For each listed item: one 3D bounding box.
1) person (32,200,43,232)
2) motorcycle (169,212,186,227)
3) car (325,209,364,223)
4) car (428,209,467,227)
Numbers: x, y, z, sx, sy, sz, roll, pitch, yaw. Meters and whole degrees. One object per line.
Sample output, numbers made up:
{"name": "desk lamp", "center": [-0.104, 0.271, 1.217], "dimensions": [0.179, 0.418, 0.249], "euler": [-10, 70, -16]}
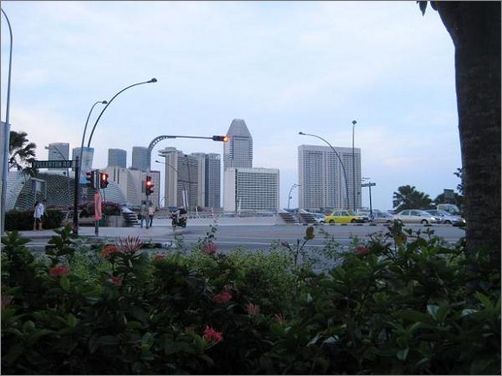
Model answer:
{"name": "person", "center": [-9.009, 1.178, 26.244], "dimensions": [0.466, 1.175, 2.497], "euler": [1, -4, -18]}
{"name": "motorcycle", "center": [-3.927, 1.745, 33.483], "dimensions": [0.527, 0.637, 1.070], "euler": [7, -2, -32]}
{"name": "car", "center": [7.326, 2.297, 49.663], "dimensions": [2.755, 1.141, 3.934], "euler": [-1, -3, 4]}
{"name": "car", "center": [14.595, 2.139, 46.641], "dimensions": [2.112, 1.113, 7.344], "euler": [-1, -3, 12]}
